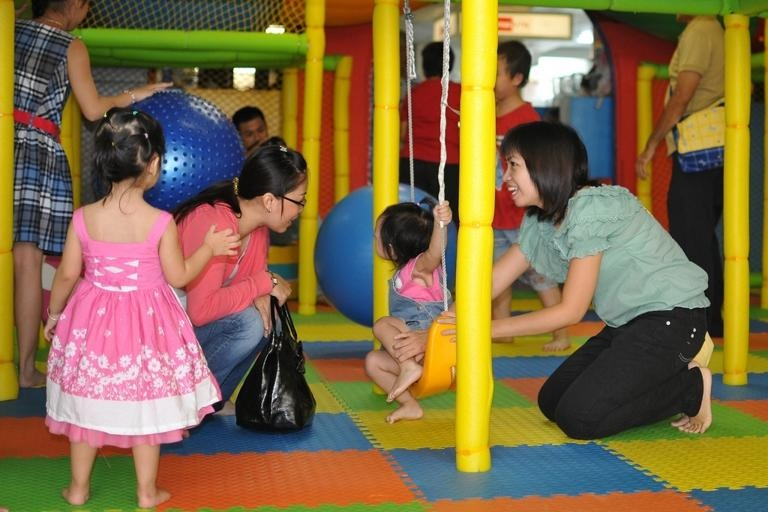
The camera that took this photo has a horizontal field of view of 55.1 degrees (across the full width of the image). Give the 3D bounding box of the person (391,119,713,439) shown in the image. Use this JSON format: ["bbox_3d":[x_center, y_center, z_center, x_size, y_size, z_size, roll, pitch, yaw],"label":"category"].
[{"bbox_3d":[1.056,0.117,3.707,1.225,1.555,0.492,-2,10,-13],"label":"person"}]

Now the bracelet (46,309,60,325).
[{"bbox_3d":[-1.469,0.268,3.270,0.058,0.057,0.064,4,-10,-3],"label":"bracelet"}]

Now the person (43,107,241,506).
[{"bbox_3d":[-1.052,0.199,3.143,0.793,1.625,0.493,-3,11,-20],"label":"person"}]

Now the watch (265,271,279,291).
[{"bbox_3d":[-0.562,0.124,3.843,0.078,0.082,0.057,-30,-7,32],"label":"watch"}]

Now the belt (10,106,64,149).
[{"bbox_3d":[-1.972,-0.743,4.167,0.188,0.043,0.144,21,-7,8],"label":"belt"}]

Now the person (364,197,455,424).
[{"bbox_3d":[0.141,0.311,3.976,0.451,1.276,0.821,8,-20,-1],"label":"person"}]
